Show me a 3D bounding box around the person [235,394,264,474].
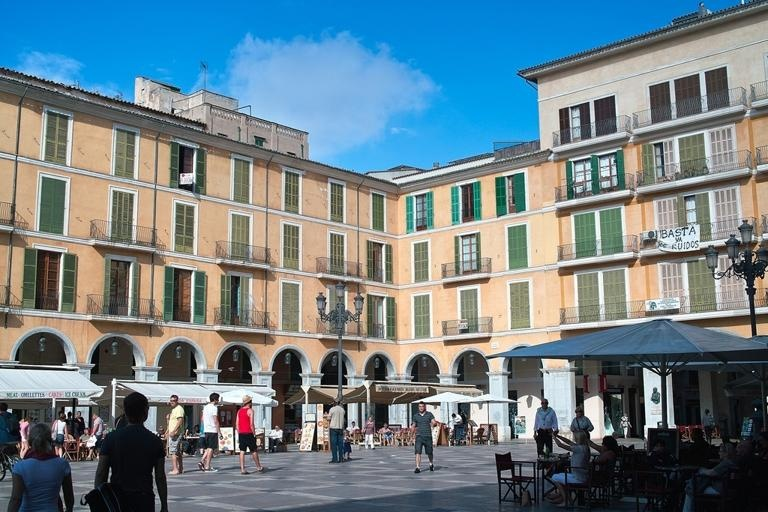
[{"bbox_3d":[-5.117,6.821,49.683,1.274,2.904,0.972,1,-8,-26],"label":"person"}]

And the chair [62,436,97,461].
[{"bbox_3d":[-12.839,8.253,55.303,1.041,0.821,1.773,-1,-10,-1],"label":"chair"}]

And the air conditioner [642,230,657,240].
[{"bbox_3d":[13.214,-1.051,65.263,0.136,0.500,0.517,5,0,-44],"label":"air conditioner"}]
